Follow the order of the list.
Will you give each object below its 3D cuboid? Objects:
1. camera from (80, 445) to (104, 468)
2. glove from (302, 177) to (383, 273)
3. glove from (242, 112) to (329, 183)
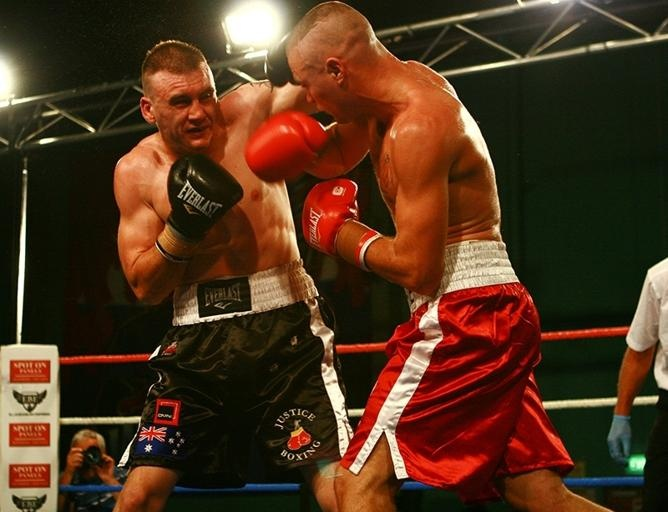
[{"bbox_3d":[-1.547,1.297,4.795,0.117,0.134,0.095,0,-6,-19],"label":"camera"},{"bbox_3d":[0.009,-0.133,2.795,0.251,0.351,0.166,-15,-36,-5],"label":"glove"},{"bbox_3d":[-0.179,-0.419,2.883,0.293,0.149,0.230,-38,-56,24],"label":"glove"}]
